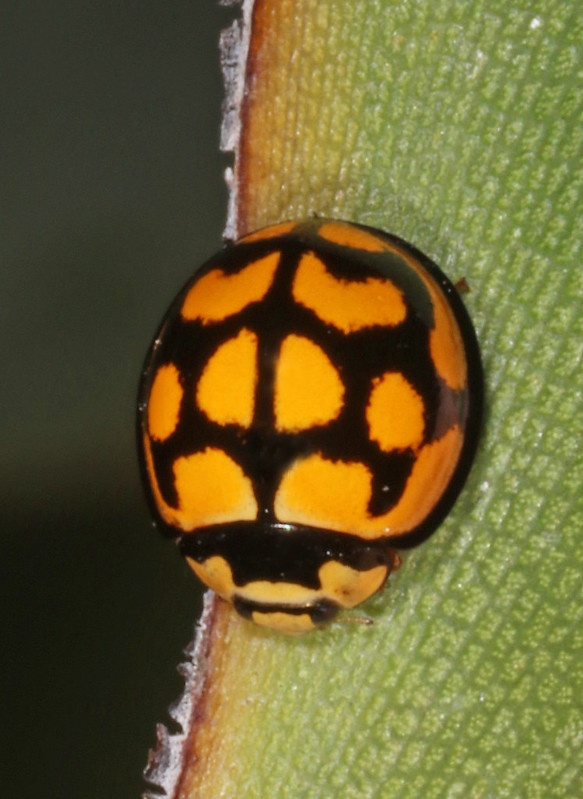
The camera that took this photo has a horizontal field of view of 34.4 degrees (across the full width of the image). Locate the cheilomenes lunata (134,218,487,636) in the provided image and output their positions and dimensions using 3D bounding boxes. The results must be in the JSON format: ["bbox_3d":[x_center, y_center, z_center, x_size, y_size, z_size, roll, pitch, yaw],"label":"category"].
[{"bbox_3d":[0.009,0.000,0.491,0.207,0.077,0.214,10,77,28],"label":"cheilomenes lunata"}]
